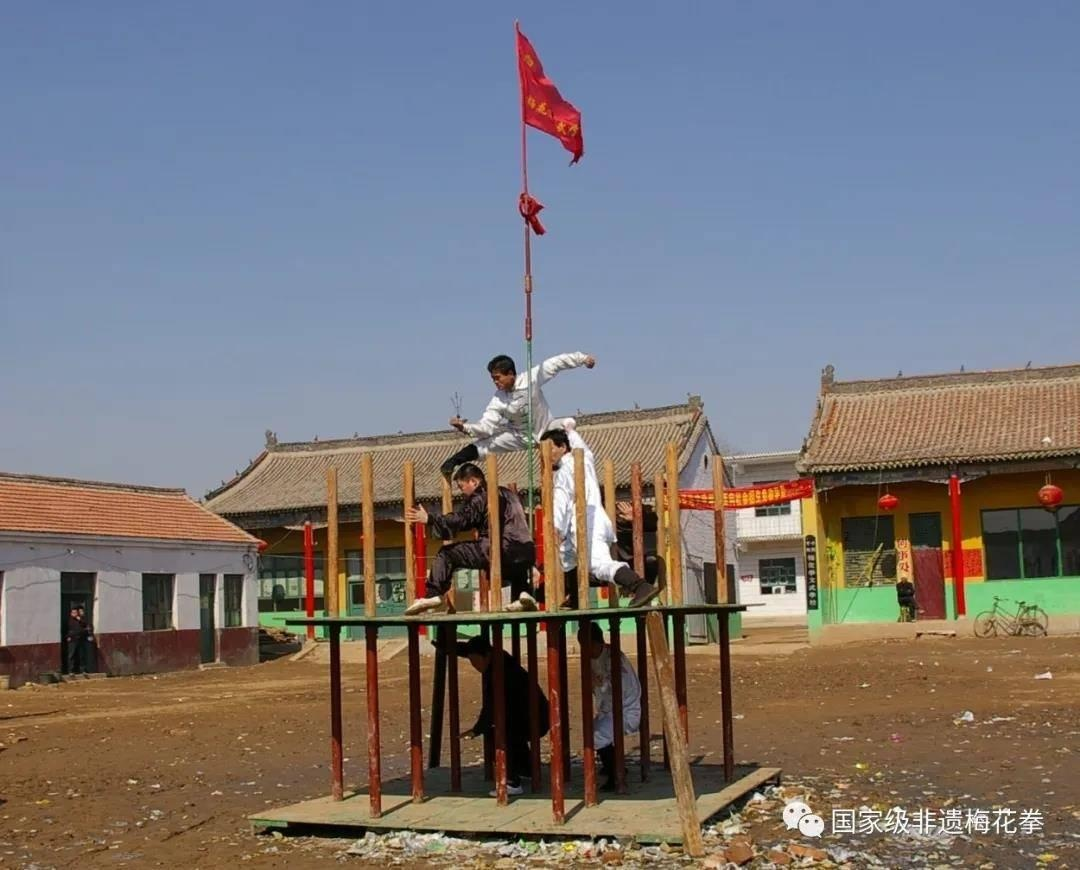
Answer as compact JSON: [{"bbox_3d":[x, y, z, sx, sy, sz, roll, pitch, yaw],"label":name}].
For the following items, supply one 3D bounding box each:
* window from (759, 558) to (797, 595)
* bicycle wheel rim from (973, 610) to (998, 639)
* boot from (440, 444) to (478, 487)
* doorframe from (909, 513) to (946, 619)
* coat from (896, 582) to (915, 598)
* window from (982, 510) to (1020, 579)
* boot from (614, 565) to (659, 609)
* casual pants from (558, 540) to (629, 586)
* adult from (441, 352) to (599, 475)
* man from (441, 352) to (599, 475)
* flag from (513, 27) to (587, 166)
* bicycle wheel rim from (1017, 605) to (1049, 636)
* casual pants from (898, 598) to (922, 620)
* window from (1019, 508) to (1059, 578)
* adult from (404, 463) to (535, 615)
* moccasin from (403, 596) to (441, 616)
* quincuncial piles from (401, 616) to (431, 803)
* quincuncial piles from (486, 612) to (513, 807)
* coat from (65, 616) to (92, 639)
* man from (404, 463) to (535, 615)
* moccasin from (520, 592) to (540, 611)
[{"bbox_3d":[9.081,5.389,48.973,1.652,1.419,0.216,1,-19,16],"label":"window"},{"bbox_3d":[9.126,3.854,26.462,0.477,0.490,1.036,-5,-10,17],"label":"bicycle wheel rim"},{"bbox_3d":[-0.730,0.227,12.155,0.199,0.185,0.613,3,34,18],"label":"boot"},{"bbox_3d":[8.450,2.797,28.066,0.727,2.315,0.690,-5,-10,14],"label":"doorframe"},{"bbox_3d":[7.826,3.299,27.584,0.384,0.362,0.264,-2,-9,0],"label":"coat"},{"bbox_3d":[10.003,2.374,27.957,0.937,1.600,0.078,-2,-4,-12],"label":"window"},{"bbox_3d":[0.807,1.276,10.982,0.343,0.357,0.643,-2,-9,-2],"label":"boot"},{"bbox_3d":[0.445,1.118,11.272,0.456,0.163,0.659,4,7,4],"label":"casual pants"},{"bbox_3d":[-0.201,-0.242,12.958,2.064,1.066,0.509,-8,10,-36],"label":"adult"},{"bbox_3d":[-0.208,-0.237,12.956,2.092,1.080,0.509,-8,10,-36],"label":"man"},{"bbox_3d":[0.094,-3.547,13.776,0.891,1.264,0.305,6,-13,-42],"label":"flag"},{"bbox_3d":[10.019,3.744,26.215,0.598,0.629,1.424,-5,-10,19],"label":"bicycle wheel rim"},{"bbox_3d":[7.894,3.719,27.478,0.491,0.504,0.403,-2,-2,16],"label":"casual pants"},{"bbox_3d":[10.721,2.337,27.653,0.815,1.513,0.033,-5,1,35],"label":"window"},{"bbox_3d":[-0.602,0.894,11.384,1.102,1.342,1.071,-2,-9,-1],"label":"adult"},{"bbox_3d":[-0.981,1.447,10.958,0.236,0.157,0.452,-5,-10,20],"label":"moccasin"},{"bbox_3d":[-1.145,2.507,11.630,0.131,1.622,0.117,-2,-5,-1],"label":"quincuncial piles"},{"bbox_3d":[-0.329,2.603,11.273,0.203,1.600,0.184,-3,14,-9],"label":"quincuncial piles"},{"bbox_3d":[-9.351,3.910,26.336,0.557,0.351,0.389,4,7,10],"label":"coat"},{"bbox_3d":[-0.597,0.892,11.372,1.090,1.342,1.048,-2,-9,-1],"label":"man"},{"bbox_3d":[-0.103,1.401,10.897,0.103,0.091,0.207,-3,-35,6],"label":"moccasin"}]
